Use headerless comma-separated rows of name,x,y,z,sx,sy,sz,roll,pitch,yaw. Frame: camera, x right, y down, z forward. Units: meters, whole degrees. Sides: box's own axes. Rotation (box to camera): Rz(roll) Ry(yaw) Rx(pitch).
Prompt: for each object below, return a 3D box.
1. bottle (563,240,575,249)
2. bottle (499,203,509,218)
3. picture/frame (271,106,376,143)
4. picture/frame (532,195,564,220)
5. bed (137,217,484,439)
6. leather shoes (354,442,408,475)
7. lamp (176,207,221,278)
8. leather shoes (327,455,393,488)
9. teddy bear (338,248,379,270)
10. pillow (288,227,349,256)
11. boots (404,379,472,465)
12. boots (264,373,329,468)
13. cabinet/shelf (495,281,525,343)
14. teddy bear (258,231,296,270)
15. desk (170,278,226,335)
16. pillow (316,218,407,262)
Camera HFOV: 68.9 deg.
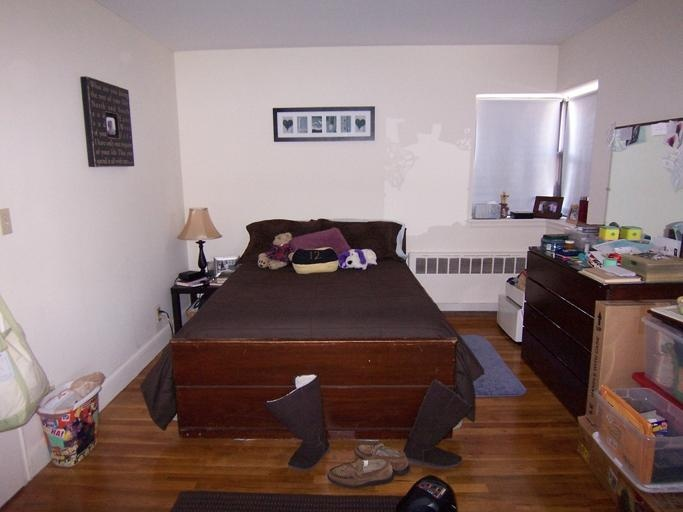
bottle,1.699,-0.091,3.719,0.061,0.053,0.062,3,18,13
bottle,1.615,-0.452,4.954,0.123,0.164,0.120,-1,7,0
picture/frame,-0.163,-1.249,4.734,0.985,0.368,0.027,-1,0,-1
picture/frame,2.023,-0.473,4.868,0.238,0.222,0.088,-3,-17,37
bed,-0.176,0.592,3.709,2.062,0.838,1.510,-1,12,-2
leather shoes,0.254,1.182,2.972,0.252,0.094,0.153,10,6,13
lamp,-1.276,-0.126,4.517,0.385,0.602,0.372,11,17,43
leather shoes,0.104,1.236,2.834,0.357,0.134,0.151,-1,11,-9
teddy bear,0.150,0.024,4.191,0.244,0.099,0.176,-7,18,-43
pillow,-0.170,-0.122,4.284,0.303,0.093,0.304,-6,27,-13
boots,0.584,1.039,3.039,0.363,0.506,0.227,9,1,10
boots,-0.248,1.017,3.032,0.363,0.454,0.279,-24,2,-18
cabinet/shelf,1.497,0.510,4.405,0.229,0.395,0.450,1,13,4
teddy bear,-0.549,-0.051,4.294,0.306,0.350,0.319,5,2,32
desk,-1.257,0.406,4.510,0.501,0.533,0.493,-2,13,-7
pillow,0.287,-0.183,4.494,0.526,0.161,0.408,5,21,-7
